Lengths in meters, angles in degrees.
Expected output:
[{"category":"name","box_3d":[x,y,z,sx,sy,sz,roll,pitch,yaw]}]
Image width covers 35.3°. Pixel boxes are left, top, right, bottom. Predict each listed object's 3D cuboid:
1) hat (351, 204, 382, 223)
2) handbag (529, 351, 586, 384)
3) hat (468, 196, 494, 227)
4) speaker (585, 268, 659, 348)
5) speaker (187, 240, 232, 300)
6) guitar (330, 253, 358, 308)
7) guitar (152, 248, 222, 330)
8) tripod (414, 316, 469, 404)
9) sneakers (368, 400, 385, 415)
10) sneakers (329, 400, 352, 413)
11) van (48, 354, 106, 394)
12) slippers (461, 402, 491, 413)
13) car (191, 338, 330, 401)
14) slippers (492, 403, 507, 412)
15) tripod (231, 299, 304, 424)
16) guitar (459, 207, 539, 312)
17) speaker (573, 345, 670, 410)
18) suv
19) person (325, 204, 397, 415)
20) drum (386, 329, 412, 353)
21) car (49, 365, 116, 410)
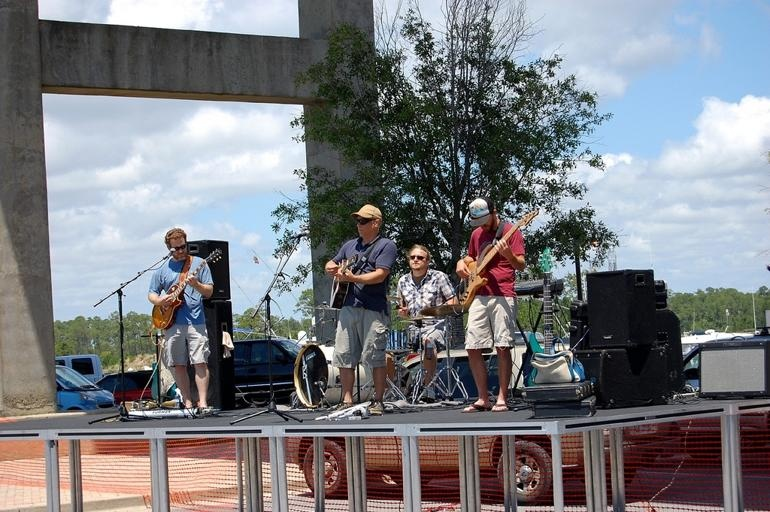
[{"category":"hat","box_3d":[-0.285,-0.707,19.916,0.379,0.206,0.283,7,-8,-24]},{"category":"handbag","box_3d":[2.624,1.733,18.724,0.836,0.540,0.485,-9,-13,22]},{"category":"hat","box_3d":[1.541,-0.679,19.359,0.342,0.499,0.268,1,-20,25]},{"category":"speaker","box_3d":[3.802,0.838,19.451,1.089,1.233,0.462,-5,-3,9]},{"category":"speaker","box_3d":[-3.119,0.273,21.441,0.752,1.056,0.768,-4,-9,-1]},{"category":"guitar","box_3d":[-0.665,0.561,19.769,0.155,0.438,0.828,2,-33,-13]},{"category":"guitar","box_3d":[-3.319,0.612,20.285,0.558,1.537,0.205,42,9,34]},{"category":"tripod","box_3d":[0.926,1.845,21.088,1.203,1.378,1.235,-7,-9,43]},{"category":"sneakers","box_3d":[-0.126,2.434,19.586,0.279,0.241,0.531,-4,-4,1]},{"category":"sneakers","box_3d":[-0.689,2.459,19.711,0.395,0.167,0.141,-4,-13,10]},{"category":"van","box_3d":[-10.543,3.697,40.218,2.210,1.298,1.527,4,-5,-8]},{"category":"slippers","box_3d":[1.466,2.412,19.310,0.445,0.136,0.170,2,-8,-11]},{"category":"car","box_3d":[-2.381,2.397,26.129,2.101,1.088,1.261,-7,-10,18]},{"category":"slippers","box_3d":[1.819,2.363,19.076,0.247,0.149,0.264,-5,-4,9]},{"category":"tripod","box_3d":[-1.867,1.706,20.366,1.342,2.094,1.357,-1,4,20]},{"category":"guitar","box_3d":[1.726,0.079,19.282,1.300,1.420,0.787,-5,-4,17]},{"category":"speaker","box_3d":[3.870,1.936,19.464,1.260,0.888,0.775,-2,-1,-21]},{"category":"suv","box_3d":[1.576,3.198,21.595,6.085,2.239,2.821,-4,-8,25]},{"category":"person","box_3d":[-0.339,0.870,19.836,1.104,3.372,0.746,-4,-3,0]},{"category":"drum","box_3d":[0.221,1.444,20.844,0.370,0.417,0.386,-4,-9,27]},{"category":"car","box_3d":[-8.119,3.619,32.675,2.143,1.197,1.327,-6,-8,33]}]
